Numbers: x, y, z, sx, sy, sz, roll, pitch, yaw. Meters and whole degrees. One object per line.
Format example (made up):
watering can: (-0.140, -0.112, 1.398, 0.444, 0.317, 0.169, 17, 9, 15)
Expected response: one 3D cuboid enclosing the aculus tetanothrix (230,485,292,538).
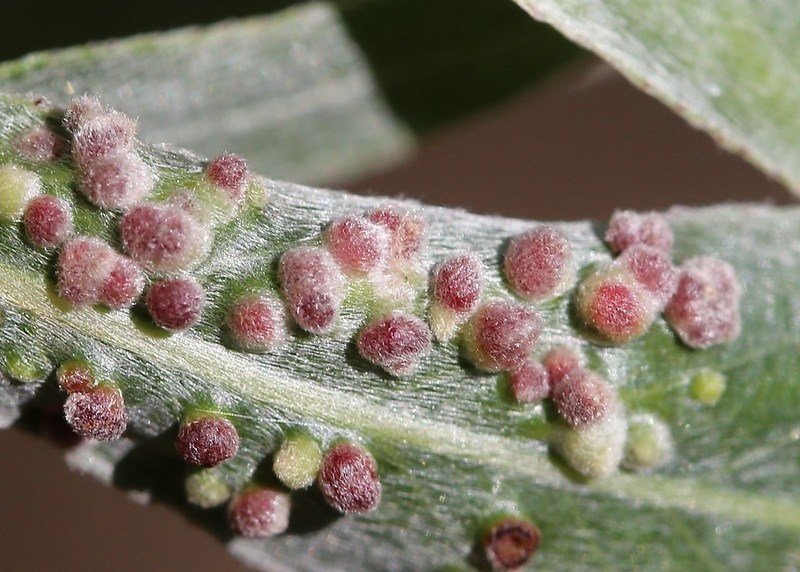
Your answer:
aculus tetanothrix: (-0.209, 0.332, 1.482, 0.061, 0.066, 0.099, 20, -59, 40)
